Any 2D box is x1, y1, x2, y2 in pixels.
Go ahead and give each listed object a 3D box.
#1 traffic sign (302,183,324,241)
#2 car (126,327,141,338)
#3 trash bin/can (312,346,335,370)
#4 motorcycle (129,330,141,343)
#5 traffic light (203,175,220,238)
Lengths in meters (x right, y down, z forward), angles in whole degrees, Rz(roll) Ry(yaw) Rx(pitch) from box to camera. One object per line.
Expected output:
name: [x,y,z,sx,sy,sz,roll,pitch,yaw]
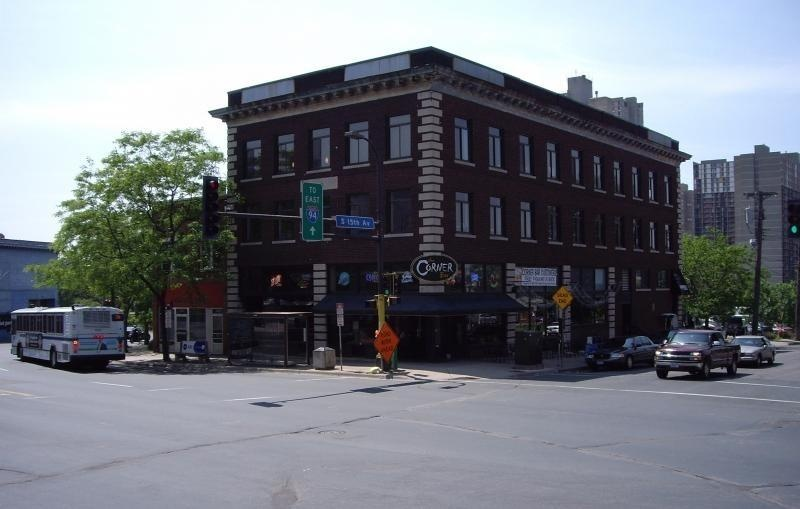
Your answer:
traffic sign: [-4.462,-2.247,42.823,1.314,2.967,0.740,4,-8,-30]
car: [-25.767,7.528,82.070,1.539,0.744,2.503,0,-3,-16]
trash bin/can: [-4.229,5.796,47.506,1.076,1.254,1.300,-2,-8,14]
motorcycle: [-25.498,7.747,82.007,1.000,1.278,1.492,2,-8,-16]
traffic light: [-8.060,-2.128,36.213,0.637,2.682,1.384,2,-8,-16]
